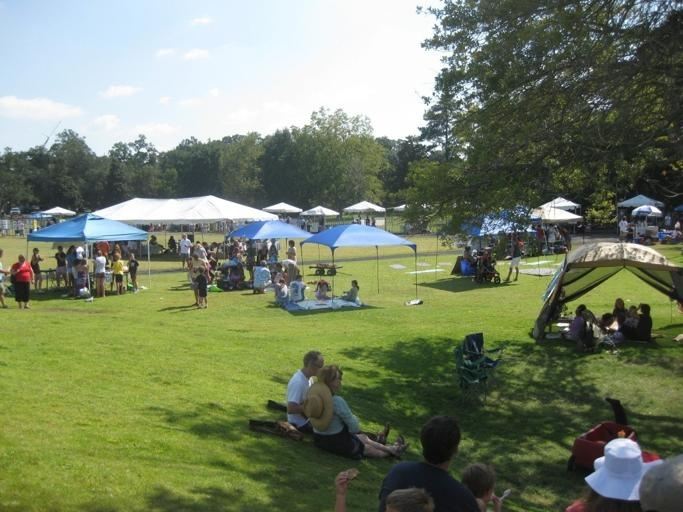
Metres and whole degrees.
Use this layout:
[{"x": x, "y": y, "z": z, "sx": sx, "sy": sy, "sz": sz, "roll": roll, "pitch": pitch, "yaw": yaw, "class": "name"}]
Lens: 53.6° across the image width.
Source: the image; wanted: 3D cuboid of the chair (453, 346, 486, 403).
[{"x": 2.826, "y": 2.590, "z": 14.780, "sx": 0.579, "sy": 1.053, "sz": 0.823, "roll": -1, "pitch": 3, "yaw": -23, "class": "chair"}]

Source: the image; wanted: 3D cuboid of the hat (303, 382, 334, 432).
[{"x": -0.348, "y": 2.486, "z": 11.114, "sx": 0.209, "sy": 0.720, "sz": 0.705, "roll": 1, "pitch": -27, "yaw": -43, "class": "hat"}]

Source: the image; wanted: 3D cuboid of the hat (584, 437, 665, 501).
[{"x": 3.480, "y": 2.700, "z": 8.520, "sx": 0.701, "sy": 0.302, "sz": 0.772, "roll": 0, "pitch": 13, "yaw": 30, "class": "hat"}]

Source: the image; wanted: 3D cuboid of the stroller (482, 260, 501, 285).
[{"x": 6.364, "y": 0.763, "z": 28.457, "sx": 0.677, "sy": 0.933, "sz": 0.950, "roll": 0, "pitch": -1, "yaw": -14, "class": "stroller"}]

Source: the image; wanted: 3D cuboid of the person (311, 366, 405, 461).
[{"x": 0.216, "y": 2.772, "z": 11.768, "sx": 1.993, "sy": 1.451, "sz": 0.910, "roll": 12, "pitch": -9, "yaw": -31, "class": "person"}]

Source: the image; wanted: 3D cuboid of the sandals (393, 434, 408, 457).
[{"x": 1.044, "y": 3.355, "z": 11.893, "sx": 0.170, "sy": 0.139, "sz": 0.381, "roll": 13, "pitch": 30, "yaw": 8, "class": "sandals"}]
